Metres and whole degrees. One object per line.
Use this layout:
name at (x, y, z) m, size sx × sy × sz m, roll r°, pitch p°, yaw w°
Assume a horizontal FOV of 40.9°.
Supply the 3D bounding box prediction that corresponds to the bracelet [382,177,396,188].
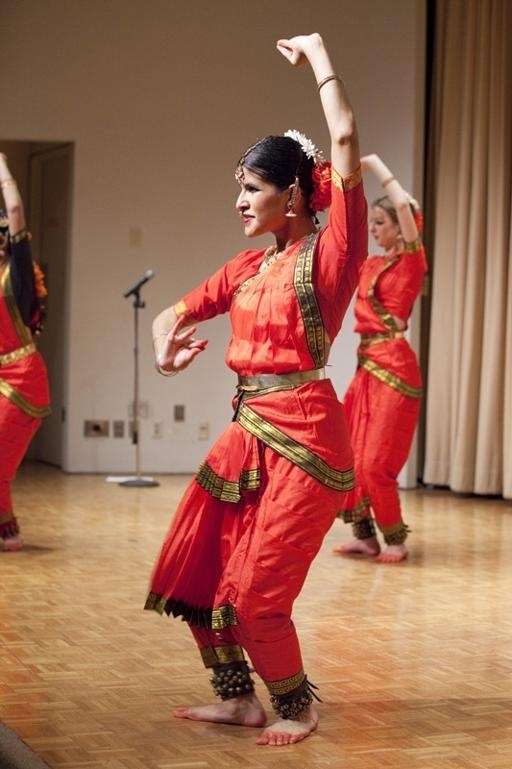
bracelet at (0.626, -0.948, 3.245) m, size 0.055 × 0.012 × 0.053 m, roll -30°, pitch -5°, yaw -20°
